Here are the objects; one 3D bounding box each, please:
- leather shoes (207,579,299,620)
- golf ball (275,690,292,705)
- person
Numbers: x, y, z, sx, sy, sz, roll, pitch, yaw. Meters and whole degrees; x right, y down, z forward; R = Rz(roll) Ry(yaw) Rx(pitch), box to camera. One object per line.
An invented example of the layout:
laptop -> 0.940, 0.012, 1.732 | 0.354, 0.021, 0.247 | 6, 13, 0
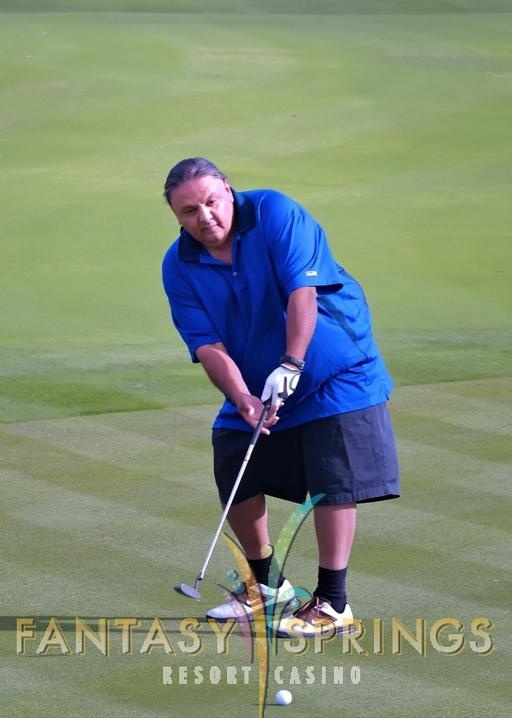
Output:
leather shoes -> -0.045, 0.924, 5.454 | 0.410, 0.148, 0.127 | -13, -6, -5
golf ball -> 0.092, 1.173, 4.944 | 0.065, 0.042, 0.044 | -4, 13, -12
person -> 0.043, 0.120, 5.442 | 0.969, 1.756, 1.439 | -1, 17, -13
